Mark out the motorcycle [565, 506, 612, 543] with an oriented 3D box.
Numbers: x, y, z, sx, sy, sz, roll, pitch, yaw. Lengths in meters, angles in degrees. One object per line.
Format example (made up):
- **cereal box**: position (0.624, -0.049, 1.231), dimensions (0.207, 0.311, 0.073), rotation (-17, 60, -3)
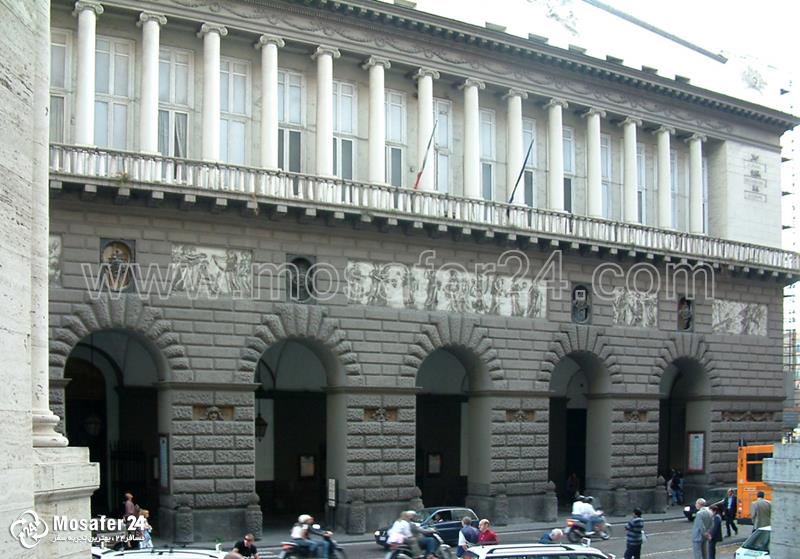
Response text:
- **motorcycle**: position (7.441, 10.020, 65.290), dimensions (2.232, 1.304, 0.997), rotation (2, -6, -41)
